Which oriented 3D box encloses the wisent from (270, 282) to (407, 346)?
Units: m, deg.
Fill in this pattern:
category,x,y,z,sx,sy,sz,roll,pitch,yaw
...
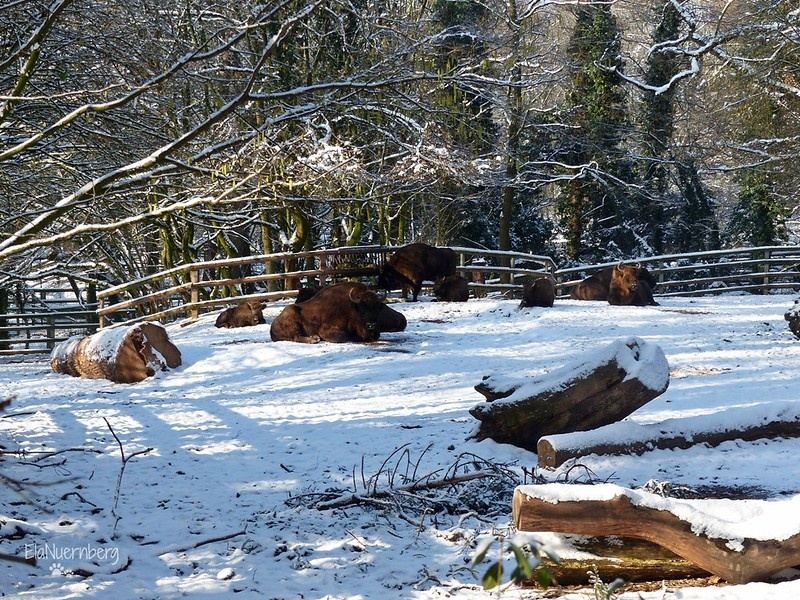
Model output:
category,x,y,z,sx,sy,sz,roll,pitch,yaw
wisent,-1.382,0.297,25.980,2.124,0.902,1.169,-4,-2,10
